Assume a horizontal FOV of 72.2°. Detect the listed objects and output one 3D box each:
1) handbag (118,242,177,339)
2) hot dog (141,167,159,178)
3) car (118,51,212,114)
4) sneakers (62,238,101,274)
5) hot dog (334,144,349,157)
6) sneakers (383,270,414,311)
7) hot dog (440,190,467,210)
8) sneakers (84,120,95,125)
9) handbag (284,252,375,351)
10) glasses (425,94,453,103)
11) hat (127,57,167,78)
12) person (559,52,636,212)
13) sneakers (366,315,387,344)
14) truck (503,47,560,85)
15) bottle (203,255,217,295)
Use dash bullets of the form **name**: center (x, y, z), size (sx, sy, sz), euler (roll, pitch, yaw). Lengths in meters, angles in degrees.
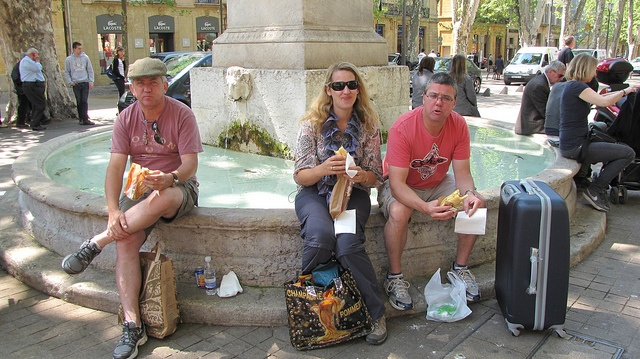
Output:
- **handbag**: center (-1.761, 1.178, 4.610), size (0.437, 0.952, 0.354), euler (9, 21, 29)
- **hot dog**: center (-1.766, -0.073, 4.562), size (0.132, 0.075, 0.163), euler (11, 20, 35)
- **car**: center (-4.022, -2.752, 12.894), size (1.809, 1.760, 3.556), euler (11, 21, 25)
- **sneakers**: center (-2.590, 0.850, 4.779), size (0.237, 0.184, 0.516), euler (-24, 17, 43)
- **hot dog**: center (0.225, -0.291, 4.736), size (0.134, 0.088, 0.137), euler (-1, 17, 1)
- **sneakers**: center (0.873, 1.227, 4.932), size (0.289, 0.252, 0.603), euler (-4, 19, -11)
- **hot dog**: center (1.460, 0.218, 4.800), size (0.243, 0.214, 0.083), euler (-39, 10, -3)
- **sneakers**: center (-7.164, -1.742, 13.527), size (0.434, 0.155, 0.137), euler (-2, 18, -8)
- **handbag**: center (0.118, 1.300, 4.546), size (0.881, 0.765, 0.357), euler (-18, 1, -2)
- **glasses**: center (1.319, -0.897, 4.864), size (0.307, 0.084, 0.088), euler (1, 17, 7)
- **hat**: center (-1.984, -1.289, 5.038), size (0.522, 0.206, 0.639), euler (-15, 20, -12)
- **person**: center (4.288, -0.722, 6.856), size (1.061, 2.362, 1.010), euler (7, 20, 25)
- **sneakers**: center (0.592, 1.597, 4.596), size (0.134, 0.130, 0.326), euler (1, 6, 21)
- **truck**: center (13.462, -7.375, 27.803), size (2.099, 1.998, 4.457), euler (18, 31, 41)
- **bottle**: center (-1.228, 1.062, 4.864), size (0.139, 0.408, 0.194), euler (-7, 19, -15)
